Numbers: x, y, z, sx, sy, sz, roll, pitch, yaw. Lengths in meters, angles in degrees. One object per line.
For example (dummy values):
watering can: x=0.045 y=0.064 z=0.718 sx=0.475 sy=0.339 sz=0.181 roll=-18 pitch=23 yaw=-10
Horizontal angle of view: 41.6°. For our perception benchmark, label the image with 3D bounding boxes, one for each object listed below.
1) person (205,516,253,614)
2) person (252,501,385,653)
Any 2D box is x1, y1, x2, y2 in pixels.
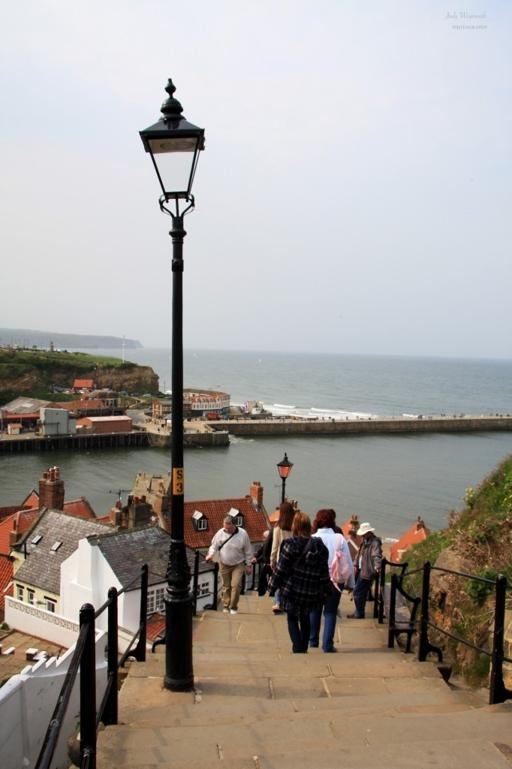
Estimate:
person: x=-0.318 y=2.209 z=8.223 sx=0.538 sy=1.443 sz=1.004 roll=3 pitch=2 yaw=0
person: x=0.541 y=1.863 z=6.429 sx=0.592 sy=1.379 sz=1.035 roll=3 pitch=2 yaw=17
